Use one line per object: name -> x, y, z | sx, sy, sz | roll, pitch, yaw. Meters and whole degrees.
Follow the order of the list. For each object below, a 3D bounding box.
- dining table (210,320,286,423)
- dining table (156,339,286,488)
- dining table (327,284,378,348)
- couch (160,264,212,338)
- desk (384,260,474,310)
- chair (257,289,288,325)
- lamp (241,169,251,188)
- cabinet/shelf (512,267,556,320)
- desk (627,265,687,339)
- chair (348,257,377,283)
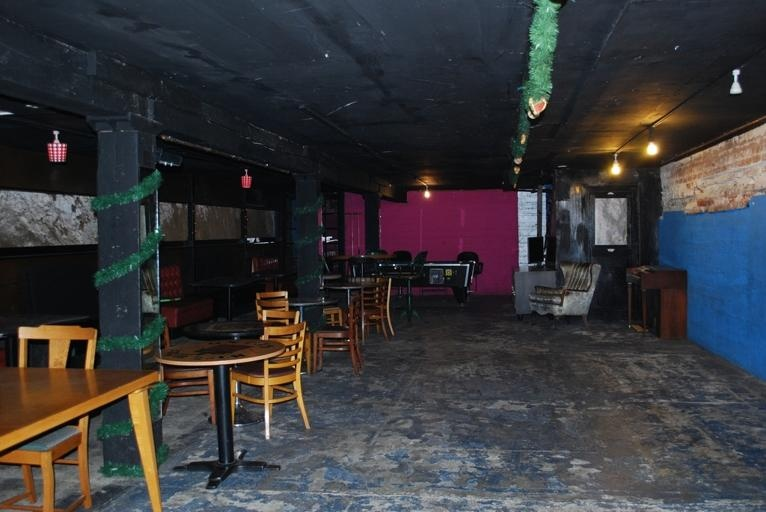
dining table -> -1.629, 1.306, 6.310 | 1.063, 1.081, 1.033 | -1, -7, 4
dining table -> -1.529, 1.480, 5.509 | 1.344, 1.138, 1.319 | 1, 6, 4
dining table -> -0.307, 0.932, 9.120 | 0.638, 0.930, 0.697 | -1, -1, -41
couch -> -3.606, 0.823, 9.537 | 0.842, 0.895, 1.416 | 1, 3, -1
desk -> 1.174, 0.754, 13.933 | 2.636, 0.962, 0.886 | 1, -5, 25
chair -> -1.609, 0.726, 7.555 | 0.549, 0.615, 0.461 | 0, 2, 0
lamp -> -3.014, -1.707, 11.570 | 0.182, 0.359, 0.729 | -4, 8, -16
cabinet/shelf -> 3.463, 0.757, 11.769 | 1.379, 0.834, 1.338 | -1, 2, 3
desk -> 5.038, 0.836, 9.586 | 0.589, 1.007, 1.415 | 1, -1, 14
chair -> -0.497, 0.353, 12.962 | 0.924, 0.559, 0.541 | 0, -8, 0
